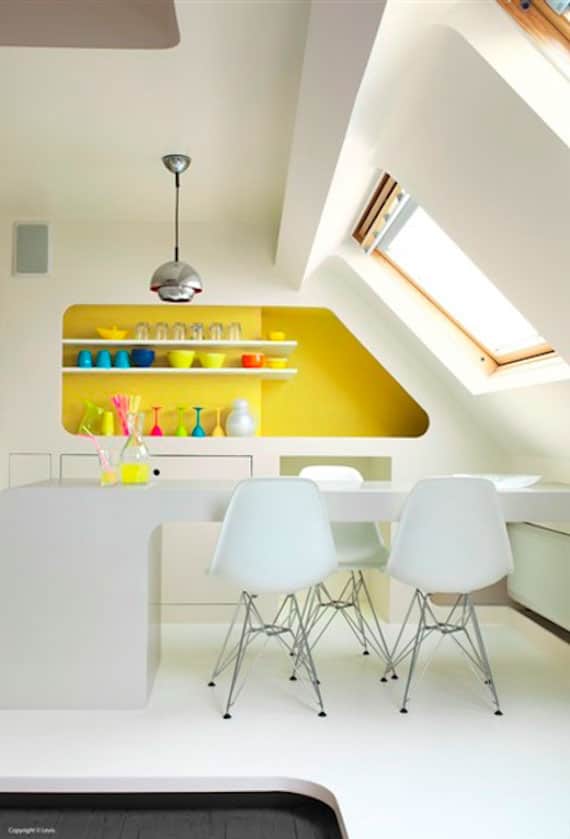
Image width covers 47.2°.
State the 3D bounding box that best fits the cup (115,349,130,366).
[{"bbox_3d":[-0.989,-0.368,3.961,0.089,0.104,0.103,1,-6,-5],"label":"cup"}]

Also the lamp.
[{"bbox_3d":[-0.546,-0.885,3.228,0.212,0.723,0.795,0,-4,-11],"label":"lamp"}]

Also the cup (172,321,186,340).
[{"bbox_3d":[-0.639,-0.537,3.941,0.089,0.151,0.092,0,3,0],"label":"cup"}]

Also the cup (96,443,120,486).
[{"bbox_3d":[-0.665,0.180,2.514,0.116,0.199,0.122,-1,0,0],"label":"cup"}]

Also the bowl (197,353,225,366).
[{"bbox_3d":[-0.454,-0.360,3.970,0.100,0.064,0.101,-4,0,0],"label":"bowl"}]

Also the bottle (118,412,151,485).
[{"bbox_3d":[-0.563,0.115,2.512,0.094,0.266,0.199,-2,-4,19],"label":"bottle"}]

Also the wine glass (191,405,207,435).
[{"bbox_3d":[-0.524,0.006,3.956,0.101,0.190,0.217,0,-4,-8],"label":"wine glass"}]

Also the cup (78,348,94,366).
[{"bbox_3d":[-1.214,-0.380,3.962,0.076,0.136,0.086,-4,-11,27],"label":"cup"}]

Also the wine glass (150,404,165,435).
[{"bbox_3d":[-0.767,0.002,3.890,0.084,0.210,0.341,0,-4,-11],"label":"wine glass"}]

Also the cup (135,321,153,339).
[{"bbox_3d":[-0.858,-0.543,3.987,0.084,0.129,0.127,1,-4,-5],"label":"cup"}]

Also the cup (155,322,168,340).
[{"bbox_3d":[-0.753,-0.544,3.991,0.078,0.116,0.079,0,-4,0],"label":"cup"}]

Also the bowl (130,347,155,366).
[{"bbox_3d":[-0.878,-0.383,3.996,0.113,0.122,0.130,2,6,0],"label":"bowl"}]

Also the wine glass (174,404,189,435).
[{"bbox_3d":[-0.614,0.010,3.889,0.071,0.204,0.338,0,-4,-9],"label":"wine glass"}]

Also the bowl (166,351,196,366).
[{"bbox_3d":[-0.624,-0.371,3.970,0.107,0.077,0.109,-1,1,0],"label":"bowl"}]

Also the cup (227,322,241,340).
[{"bbox_3d":[-0.309,-0.532,3.993,0.086,0.130,0.193,0,-4,-6],"label":"cup"}]

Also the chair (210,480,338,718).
[{"bbox_3d":[-0.081,0.630,2.644,0.447,0.807,1.155,0,-4,-5],"label":"chair"}]

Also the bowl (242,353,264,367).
[{"bbox_3d":[-0.198,-0.358,3.962,0.087,0.069,0.092,2,5,0],"label":"bowl"}]

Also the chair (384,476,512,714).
[{"bbox_3d":[0.626,0.629,2.687,0.447,0.805,1.202,-1,-4,9],"label":"chair"}]

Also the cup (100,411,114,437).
[{"bbox_3d":[-1.062,0.023,3.884,0.087,0.153,0.243,1,-4,-16],"label":"cup"}]
